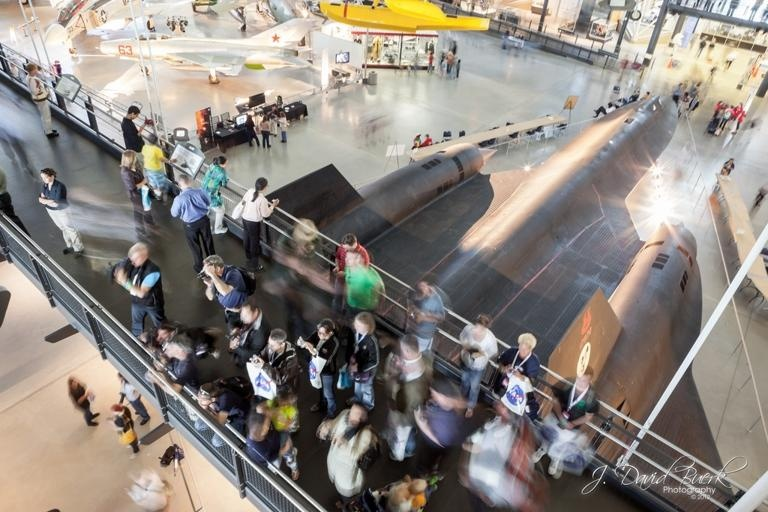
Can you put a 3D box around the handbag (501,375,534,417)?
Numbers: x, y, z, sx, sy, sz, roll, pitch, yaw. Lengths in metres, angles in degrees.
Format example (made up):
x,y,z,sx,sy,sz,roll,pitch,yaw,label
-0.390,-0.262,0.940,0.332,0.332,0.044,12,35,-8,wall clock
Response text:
x,y,z,sx,sy,sz,roll,pitch,yaw,label
2.537,2.605,8.454,0.333,0.742,0.558,-14,40,-29,handbag

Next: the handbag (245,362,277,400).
x,y,z,sx,sy,sz,roll,pitch,yaw,label
-2.218,2.300,8.187,0.643,0.821,0.239,25,37,24,handbag

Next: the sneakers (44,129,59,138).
x,y,z,sx,sy,sz,roll,pitch,yaw,label
-10.723,-3.978,14.382,0.349,0.204,0.260,-23,45,-38,sneakers

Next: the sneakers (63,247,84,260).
x,y,z,sx,sy,sz,roll,pitch,yaw,label
-7.897,-0.068,11.304,0.387,0.139,0.264,7,-1,-18,sneakers

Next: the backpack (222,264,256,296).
x,y,z,sx,sy,sz,roll,pitch,yaw,label
-3.007,0.386,9.347,0.670,0.642,0.440,-10,38,-14,backpack

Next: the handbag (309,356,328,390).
x,y,z,sx,sy,sz,roll,pitch,yaw,label
-1.291,2.217,8.503,0.318,0.774,0.142,15,34,11,handbag

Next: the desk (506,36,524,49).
x,y,z,sx,sy,sz,roll,pitch,yaw,label
11.693,-19.145,39.727,1.670,1.209,0.739,18,8,31,desk

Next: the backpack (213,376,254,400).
x,y,z,sx,sy,sz,roll,pitch,yaw,label
-2.904,2.515,8.655,0.591,0.580,0.430,-27,57,0,backpack
